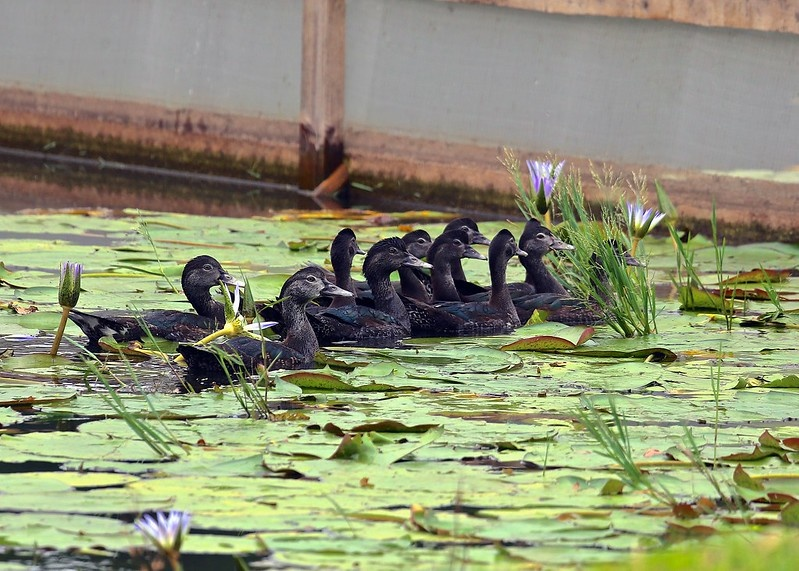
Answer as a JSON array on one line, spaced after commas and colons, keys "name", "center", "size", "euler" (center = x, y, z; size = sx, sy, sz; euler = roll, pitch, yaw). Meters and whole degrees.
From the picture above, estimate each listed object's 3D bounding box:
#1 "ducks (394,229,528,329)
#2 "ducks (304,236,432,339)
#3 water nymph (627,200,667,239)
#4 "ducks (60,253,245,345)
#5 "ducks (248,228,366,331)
[{"name": "\"ducks", "center": [0.393, -0.009, 8.214], "size": [1.325, 0.769, 0.463], "euler": [-1, 8, -24]}, {"name": "\"ducks", "center": [-0.294, 0.083, 7.873], "size": [1.187, 0.785, 0.508], "euler": [-2, 6, -39]}, {"name": "water nymph", "center": [1.755, -0.490, 7.982], "size": [0.352, 0.193, 0.304], "euler": [8, -6, 25]}, {"name": "\"ducks", "center": [-1.577, 0.136, 7.142], "size": [1.233, 0.673, 0.570], "euler": [4, -4, -33]}, {"name": "\"ducks", "center": [-0.625, 0.014, 8.055], "size": [0.453, 0.801, 1.209], "euler": [6, 10, 29]}]
